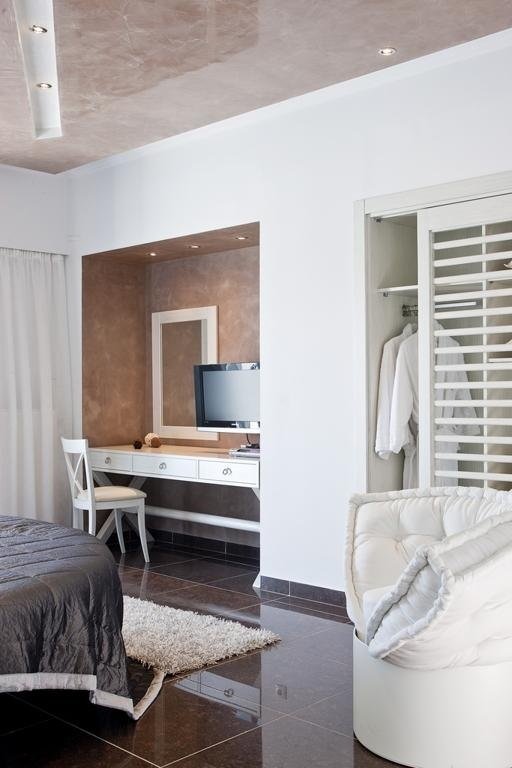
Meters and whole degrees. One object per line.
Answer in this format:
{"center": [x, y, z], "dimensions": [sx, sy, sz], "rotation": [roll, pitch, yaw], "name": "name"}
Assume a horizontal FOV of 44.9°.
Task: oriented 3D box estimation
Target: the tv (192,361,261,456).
{"center": [-0.208, 0.194, 4.556], "dimensions": [0.115, 0.651, 0.721], "rotation": [-3, -3, 45], "name": "tv"}

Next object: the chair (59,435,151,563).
{"center": [-1.135, 0.859, 4.631], "dimensions": [0.623, 0.892, 0.666], "rotation": [-4, -5, 24], "name": "chair"}

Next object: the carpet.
{"center": [-0.355, 1.115, 2.729], "dimensions": [0.324, 0.095, 0.511], "rotation": [-1, -1, -39], "name": "carpet"}

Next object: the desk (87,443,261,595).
{"center": [-0.513, 0.882, 4.716], "dimensions": [1.671, 0.795, 0.583], "rotation": [-1, 2, 34], "name": "desk"}

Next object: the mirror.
{"center": [-0.563, -0.089, 5.071], "dimensions": [0.053, 1.563, 1.108], "rotation": [-2, 2, -43], "name": "mirror"}
